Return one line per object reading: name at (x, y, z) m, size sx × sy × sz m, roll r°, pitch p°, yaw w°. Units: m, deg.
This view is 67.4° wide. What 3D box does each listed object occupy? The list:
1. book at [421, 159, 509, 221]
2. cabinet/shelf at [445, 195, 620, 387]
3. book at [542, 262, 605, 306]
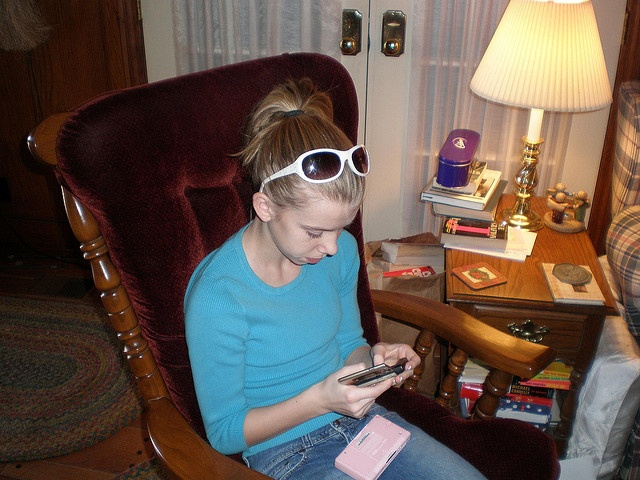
book at (0.547, -0.168, 1.820) m, size 0.243 × 0.065 × 0.261 m, roll 9°, pitch 50°, yaw 12°
cabinet/shelf at (0.705, 0.196, 1.753) m, size 0.362 × 0.553 × 0.568 m, roll 2°, pitch 69°, yaw 4°
book at (0.816, 0.144, 1.520) m, size 0.120 × 0.020 × 0.142 m, roll 1°, pitch 37°, yaw 3°
